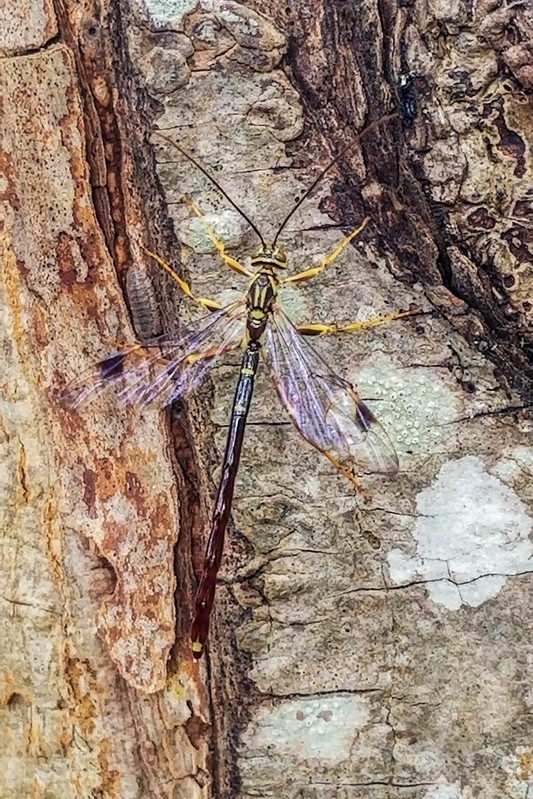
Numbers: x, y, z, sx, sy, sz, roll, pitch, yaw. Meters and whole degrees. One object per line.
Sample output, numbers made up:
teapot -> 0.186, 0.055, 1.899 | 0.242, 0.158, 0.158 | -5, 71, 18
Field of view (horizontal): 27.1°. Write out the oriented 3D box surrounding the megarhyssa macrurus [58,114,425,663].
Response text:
megarhyssa macrurus -> -0.058, 0.001, 3.159 | 0.859, 1.190, 1.838 | -9, 32, -12
